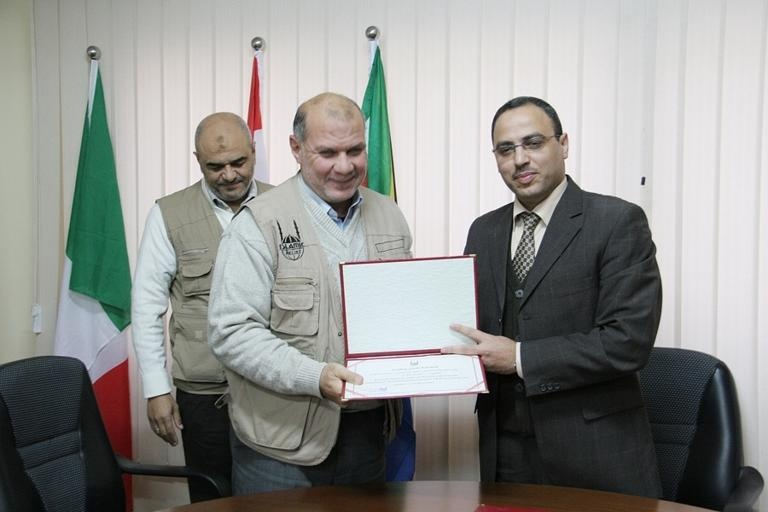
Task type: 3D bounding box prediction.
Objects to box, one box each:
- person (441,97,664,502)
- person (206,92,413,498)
[{"bbox_3d":[0.722,0.152,2.479,0.837,1.661,0.466,-2,5,4],"label":"person"},{"bbox_3d":[-0.277,0.194,2.347,0.835,1.704,0.468,-4,6,-20],"label":"person"}]
